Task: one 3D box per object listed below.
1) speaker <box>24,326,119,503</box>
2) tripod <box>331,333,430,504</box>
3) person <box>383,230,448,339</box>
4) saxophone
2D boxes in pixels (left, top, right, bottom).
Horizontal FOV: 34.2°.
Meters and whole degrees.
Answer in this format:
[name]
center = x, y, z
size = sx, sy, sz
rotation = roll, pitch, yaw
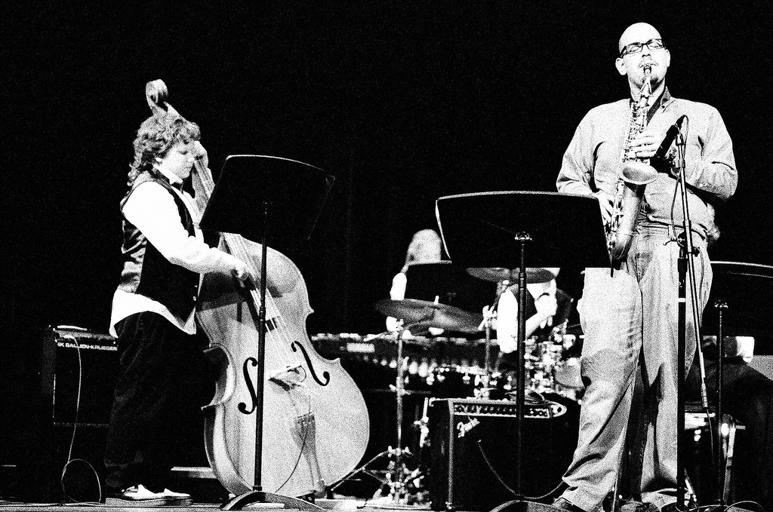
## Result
[speaker]
center = -2.545, 1.240, 10.027
size = 0.798, 1.382, 0.624
rotation = 1, -9, 5
[tripod]
center = -0.040, 1.329, 10.298
size = 0.866, 1.378, 0.797
rotation = 0, 0, 5
[person]
center = 0.257, 0.248, 11.268
size = 0.494, 0.910, 0.441
rotation = 4, 5, -2
[saxophone]
center = 1.730, -0.622, 8.952
size = 0.327, 1.433, 0.491
rotation = 1, -7, 10
